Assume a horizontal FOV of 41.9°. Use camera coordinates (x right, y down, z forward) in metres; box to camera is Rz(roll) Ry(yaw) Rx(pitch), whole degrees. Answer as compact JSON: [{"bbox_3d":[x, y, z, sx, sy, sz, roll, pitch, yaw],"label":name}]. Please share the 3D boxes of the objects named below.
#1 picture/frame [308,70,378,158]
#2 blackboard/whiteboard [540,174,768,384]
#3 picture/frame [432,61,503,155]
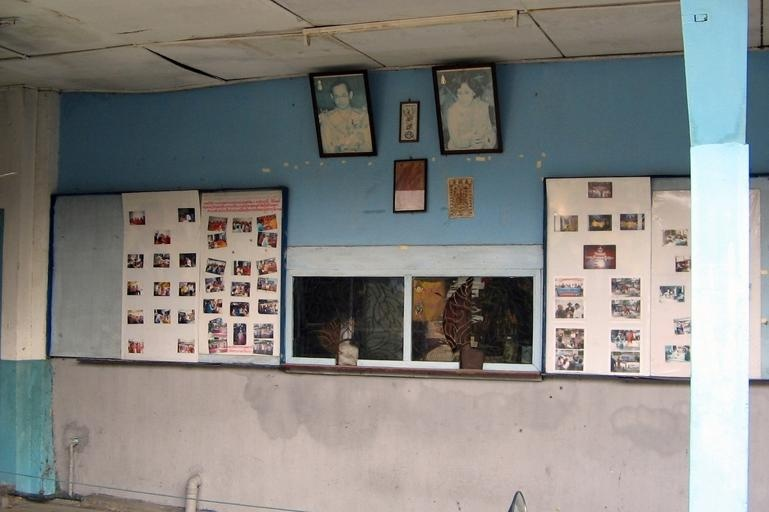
[{"bbox_3d":[-0.314,-1.211,8.412,0.640,0.856,0.086,-5,12,16],"label":"picture/frame"},{"bbox_3d":[2.075,0.185,7.476,1.629,1.410,0.062,0,-2,2],"label":"blackboard/whiteboard"},{"bbox_3d":[0.713,-1.227,8.209,0.686,0.936,0.071,-4,4,14],"label":"picture/frame"}]
